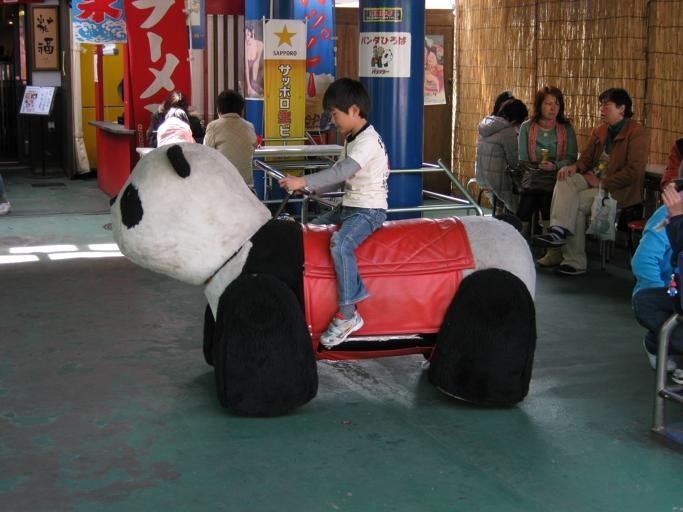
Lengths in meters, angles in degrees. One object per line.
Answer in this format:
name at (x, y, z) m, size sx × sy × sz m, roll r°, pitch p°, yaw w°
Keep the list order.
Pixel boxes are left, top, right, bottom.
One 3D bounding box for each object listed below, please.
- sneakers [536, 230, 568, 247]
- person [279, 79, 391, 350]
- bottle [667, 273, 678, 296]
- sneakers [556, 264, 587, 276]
sneakers at (1.939, -0.165, 5.170) m, size 0.355 × 0.178 × 0.134 m, roll 2°, pitch 3°, yaw -17°
person at (-0.007, -0.226, 2.872) m, size 0.471 × 1.340 × 0.607 m, roll 2°, pitch 13°, yaw 6°
bottle at (1.646, 0.145, 2.719) m, size 0.039 × 0.120 × 0.120 m, roll 9°, pitch 16°, yaw 32°
sneakers at (2.174, 0.139, 5.201) m, size 0.269 × 0.089 × 0.109 m, roll 5°, pitch 5°, yaw -20°
